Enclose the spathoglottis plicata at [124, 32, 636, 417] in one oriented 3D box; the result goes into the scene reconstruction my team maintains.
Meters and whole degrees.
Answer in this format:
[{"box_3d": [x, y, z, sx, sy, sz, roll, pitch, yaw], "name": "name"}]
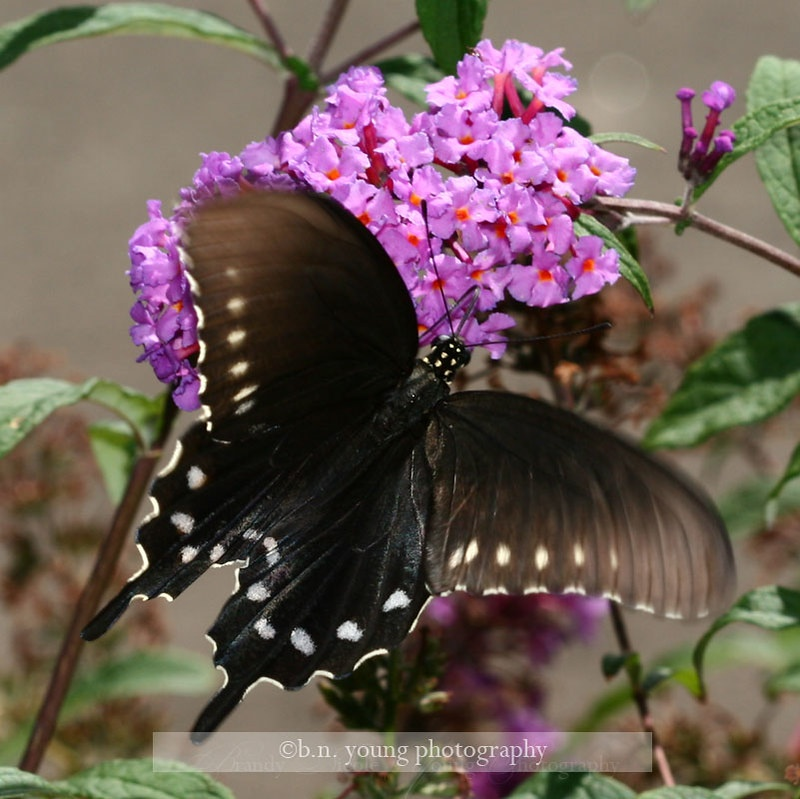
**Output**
[{"box_3d": [-0.062, -0.362, 2.023, 1.086, 0.728, 0.536, -4, -75, -13], "name": "spathoglottis plicata"}]
